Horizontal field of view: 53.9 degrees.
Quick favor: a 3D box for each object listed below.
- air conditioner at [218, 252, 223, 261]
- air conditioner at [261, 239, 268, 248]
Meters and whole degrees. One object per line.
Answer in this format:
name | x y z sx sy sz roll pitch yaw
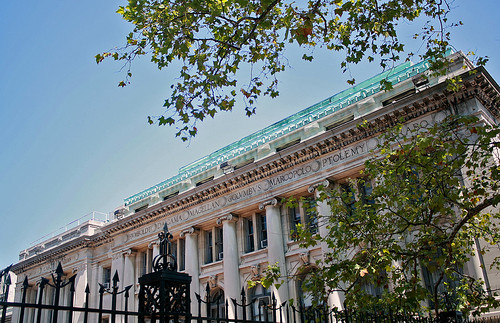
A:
air conditioner | -2.137 6.981 36.046 0.250 0.480 0.492 2 -8 -36
air conditioner | 1.039 5.703 34.067 0.292 0.384 0.539 14 -26 -38
